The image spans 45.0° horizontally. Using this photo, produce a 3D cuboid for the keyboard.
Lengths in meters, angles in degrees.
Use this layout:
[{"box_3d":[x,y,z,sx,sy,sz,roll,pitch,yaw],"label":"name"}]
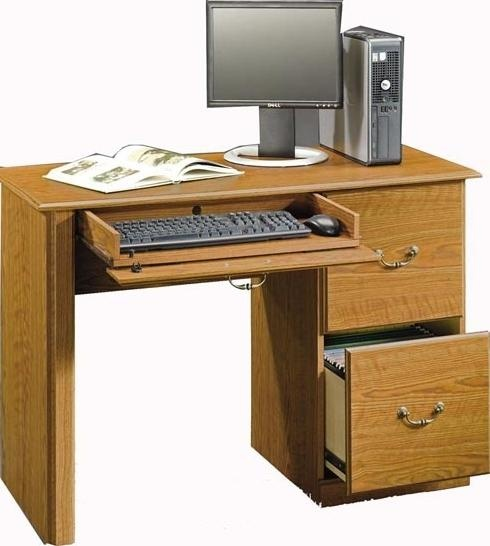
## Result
[{"box_3d":[-0.097,-0.105,1.528,0.504,0.137,0.238,0,-6,-22],"label":"keyboard"}]
